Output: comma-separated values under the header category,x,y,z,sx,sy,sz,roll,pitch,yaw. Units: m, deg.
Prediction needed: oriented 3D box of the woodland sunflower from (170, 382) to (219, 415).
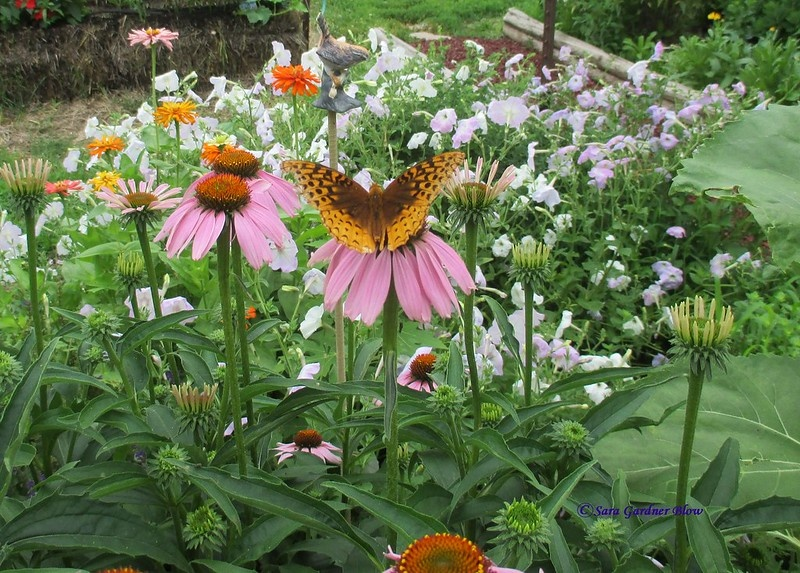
category,x,y,z,sx,sy,sz,roll,pitch,yaw
woodland sunflower,-0.669,0.339,2.641,0.103,0.070,0.111,-5,13,-32

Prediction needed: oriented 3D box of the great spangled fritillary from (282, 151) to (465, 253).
category,x,y,z,sx,sy,sz,roll,pitch,yaw
great spangled fritillary,-0.058,-0.225,2.365,0.516,0.280,0.149,-7,28,0
